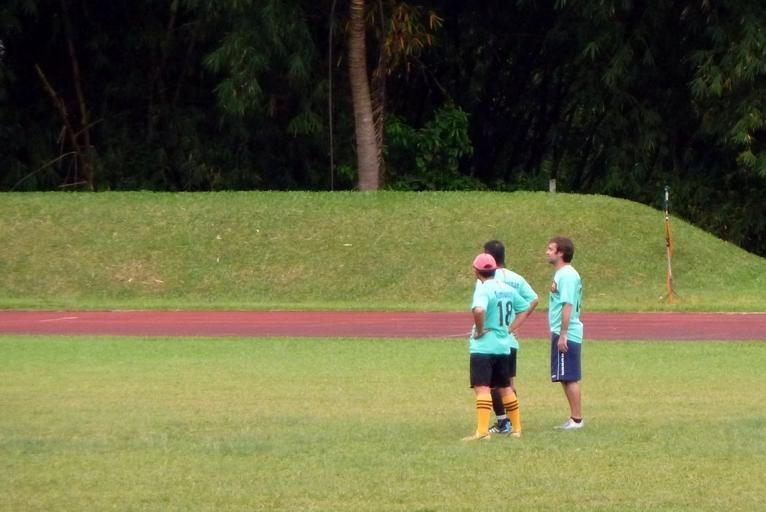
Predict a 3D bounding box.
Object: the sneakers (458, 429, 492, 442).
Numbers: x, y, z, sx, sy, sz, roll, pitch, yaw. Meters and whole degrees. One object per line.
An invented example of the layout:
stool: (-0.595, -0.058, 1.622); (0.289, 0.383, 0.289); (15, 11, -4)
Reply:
sneakers: (2.114, 4.128, 33.002); (0.663, 0.273, 0.245); (-1, -7, 10)

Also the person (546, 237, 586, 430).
person: (4.251, 1.785, 33.543); (0.736, 4.391, 1.004); (-1, 8, -9)

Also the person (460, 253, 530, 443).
person: (2.545, 2.064, 33.220); (1.337, 4.161, 0.985); (0, 8, -7)
